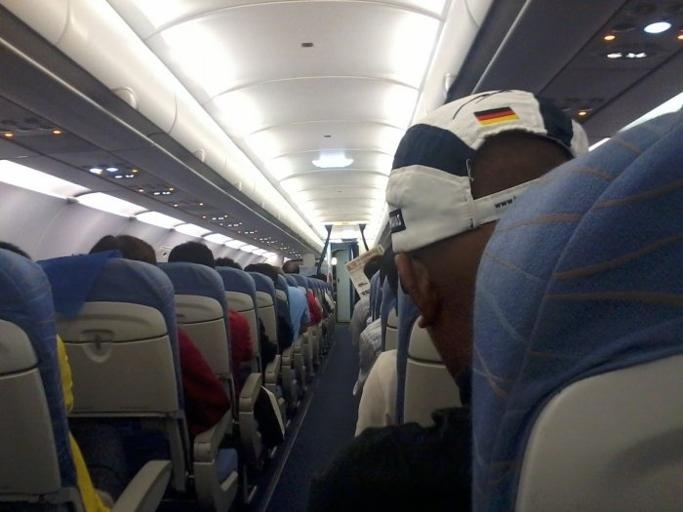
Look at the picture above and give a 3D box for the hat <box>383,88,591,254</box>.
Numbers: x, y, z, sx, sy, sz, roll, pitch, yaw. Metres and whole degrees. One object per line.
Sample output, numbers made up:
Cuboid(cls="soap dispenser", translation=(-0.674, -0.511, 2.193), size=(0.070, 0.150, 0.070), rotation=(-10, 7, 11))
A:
Cuboid(cls="hat", translation=(0.243, -0.162, 1.098), size=(0.287, 0.315, 0.387), rotation=(-19, -4, -42))
